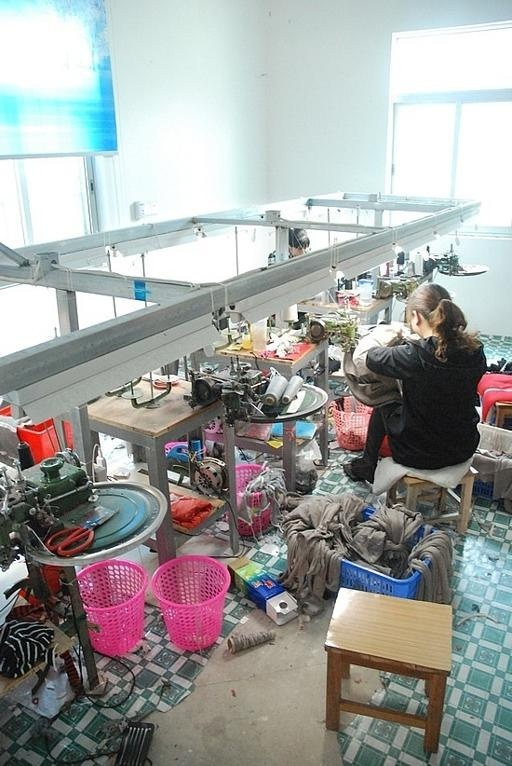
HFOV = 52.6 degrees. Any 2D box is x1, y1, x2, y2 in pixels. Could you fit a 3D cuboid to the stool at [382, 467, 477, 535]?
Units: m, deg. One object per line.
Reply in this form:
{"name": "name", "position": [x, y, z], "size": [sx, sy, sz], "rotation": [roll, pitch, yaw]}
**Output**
{"name": "stool", "position": [1.035, 0.690, 3.143], "size": [0.509, 0.378, 0.524], "rotation": [3, 11, 32]}

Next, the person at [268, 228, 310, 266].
{"name": "person", "position": [0.288, -1.163, 4.366], "size": [0.289, 0.233, 0.811], "rotation": [-4, 15, 5]}

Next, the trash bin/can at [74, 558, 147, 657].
{"name": "trash bin/can", "position": [-0.593, 0.968, 2.229], "size": [0.268, 0.380, 0.325], "rotation": [-12, 16, -23]}

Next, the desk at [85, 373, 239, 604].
{"name": "desk", "position": [-0.472, 0.354, 2.917], "size": [0.861, 1.164, 0.840], "rotation": [17, 32, 30]}

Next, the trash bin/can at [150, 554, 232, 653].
{"name": "trash bin/can", "position": [-0.293, 0.973, 2.290], "size": [0.320, 0.237, 0.316], "rotation": [-1, 20, -46]}

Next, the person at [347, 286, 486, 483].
{"name": "person", "position": [0.928, 0.013, 3.083], "size": [0.524, 1.108, 0.721], "rotation": [-13, 17, -25]}

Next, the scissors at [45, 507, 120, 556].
{"name": "scissors", "position": [-0.533, 0.456, 1.572], "size": [0.137, 0.019, 0.237], "rotation": [9, 15, 19]}

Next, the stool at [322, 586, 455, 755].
{"name": "stool", "position": [0.463, 1.019, 1.845], "size": [0.419, 0.450, 0.355], "rotation": [0, 16, 20]}

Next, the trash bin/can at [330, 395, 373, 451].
{"name": "trash bin/can", "position": [0.766, 0.354, 4.184], "size": [0.348, 0.357, 0.356], "rotation": [0, 6, 6]}

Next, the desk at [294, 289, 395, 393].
{"name": "desk", "position": [0.579, -0.291, 3.468], "size": [0.593, 0.558, 0.460], "rotation": [20, 42, 27]}
